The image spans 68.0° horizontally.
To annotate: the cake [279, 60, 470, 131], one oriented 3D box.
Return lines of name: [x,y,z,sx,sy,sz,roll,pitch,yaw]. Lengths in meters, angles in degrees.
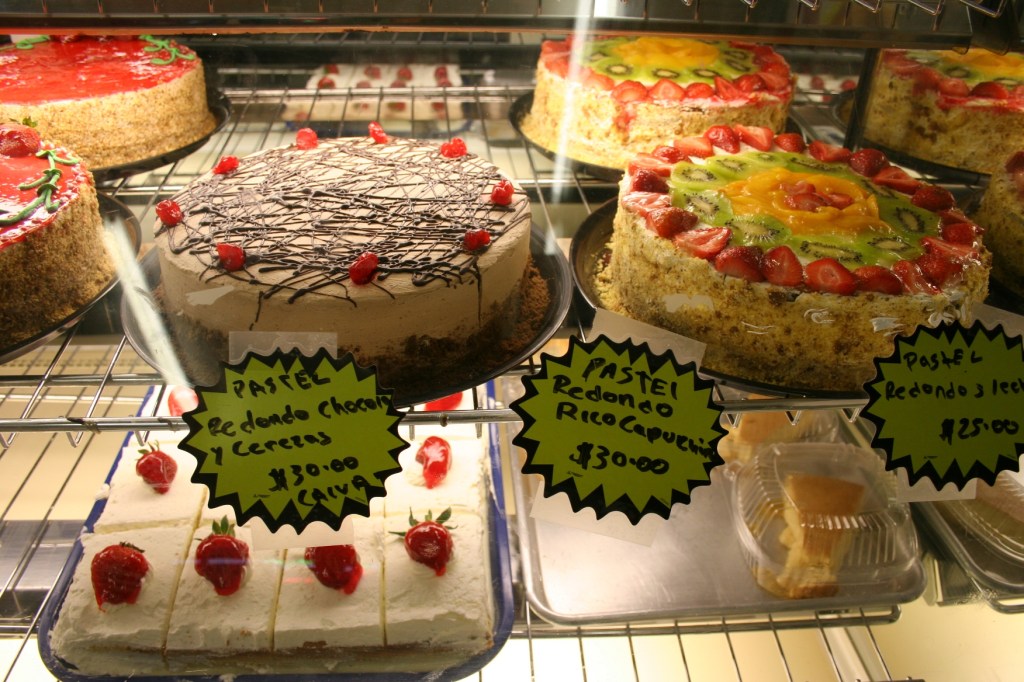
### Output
cake: [-0.630,-1.113,3.438,0.822,0.166,0.472,-2,41,-4]

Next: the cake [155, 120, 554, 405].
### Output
cake: [-0.458,-0.264,2.389,1.189,0.350,1.205,-16,44,-20]

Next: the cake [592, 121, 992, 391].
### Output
cake: [0.898,-0.301,2.455,1.093,0.359,1.134,-27,49,-29]

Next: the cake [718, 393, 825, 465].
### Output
cake: [0.924,0.280,2.562,0.425,0.068,0.250,-13,29,-8]

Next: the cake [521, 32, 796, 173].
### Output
cake: [0.549,-1.019,3.157,1.011,0.249,0.860,-9,26,-19]
